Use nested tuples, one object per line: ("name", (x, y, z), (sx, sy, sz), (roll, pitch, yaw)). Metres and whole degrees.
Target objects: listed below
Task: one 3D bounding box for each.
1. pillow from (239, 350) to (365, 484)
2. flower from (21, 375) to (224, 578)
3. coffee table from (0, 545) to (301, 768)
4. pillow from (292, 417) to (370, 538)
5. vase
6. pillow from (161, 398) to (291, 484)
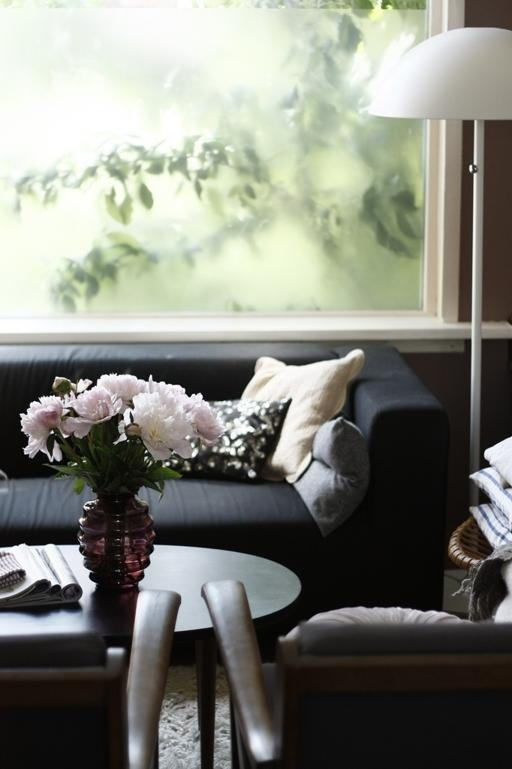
("pillow", (0.159, 0.082, 2.525), (0.152, 0.475, 0.475), (34, -15, -36))
("flower", (-0.291, 0.228, 1.572), (0.452, 0.440, 0.397), (-7, -3, 27))
("coffee table", (-0.187, 0.468, 1.533), (0.705, 0.398, 0.675), (0, 4, -1))
("pillow", (0.247, 0.261, 2.267), (0.220, 0.359, 0.284), (-10, 25, -9))
("vase", (-0.319, 0.341, 1.586), (0.172, 0.205, 0.161), (-6, -13, 11))
("pillow", (-0.125, 0.186, 2.422), (0.352, 0.320, 0.106), (6, -18, 32))
